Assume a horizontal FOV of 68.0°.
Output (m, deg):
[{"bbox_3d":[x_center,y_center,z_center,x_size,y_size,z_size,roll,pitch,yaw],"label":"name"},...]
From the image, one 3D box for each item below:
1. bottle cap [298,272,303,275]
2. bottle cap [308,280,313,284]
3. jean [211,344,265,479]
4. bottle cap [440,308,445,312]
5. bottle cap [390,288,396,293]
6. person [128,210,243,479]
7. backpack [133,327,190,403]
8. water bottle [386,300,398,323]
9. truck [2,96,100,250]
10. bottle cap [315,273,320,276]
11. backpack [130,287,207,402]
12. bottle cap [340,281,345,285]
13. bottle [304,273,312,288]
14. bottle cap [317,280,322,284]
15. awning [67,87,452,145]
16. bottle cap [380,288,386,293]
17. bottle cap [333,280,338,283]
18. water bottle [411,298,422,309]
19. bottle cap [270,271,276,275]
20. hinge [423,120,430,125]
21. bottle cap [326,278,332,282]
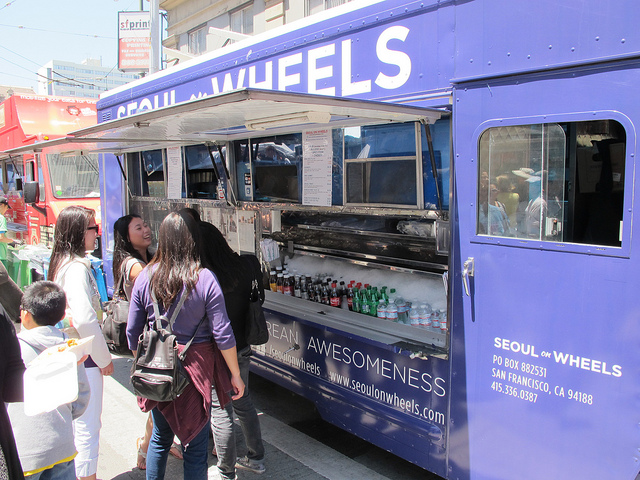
[{"bbox_3d":[-0.207,0.341,4.984,0.050,0.015,0.074,0,8,-8],"label":"bottle cap"},{"bbox_3d":[-0.103,0.412,4.703,0.023,0.047,0.025,2,3,21],"label":"bottle cap"},{"bbox_3d":[-0.626,1.335,3.603,0.310,1.036,0.542,2,7,8],"label":"jean"},{"bbox_3d":[0.982,0.560,3.808,0.022,0.018,0.023,-2,0,-42],"label":"bottle cap"},{"bbox_3d":[0.641,0.438,4.180,0.029,0.031,0.031,1,0,-12],"label":"bottle cap"},{"bbox_3d":[-0.891,0.690,3.156,0.715,1.729,0.485,-2,7,-20],"label":"person"},{"bbox_3d":[-1.014,0.756,3.032,0.305,0.503,0.266,8,11,12],"label":"backpack"},{"bbox_3d":[0.588,0.588,3.930,0.098,0.159,0.158,3,8,20],"label":"water bottle"},{"bbox_3d":[-4.648,-1.283,8.266,1.282,2.437,2.676,-6,12,-30],"label":"truck"},{"bbox_3d":[-0.030,0.345,4.862,0.033,0.032,0.019,-5,-30,35],"label":"bottle cap"},{"bbox_3d":[-1.007,0.653,3.059,0.323,0.705,0.363,8,12,8],"label":"backpack"},{"bbox_3d":[0.207,0.406,4.541,0.036,0.038,0.012,-6,2,-25],"label":"bottle cap"},{"bbox_3d":[-0.114,0.385,4.753,0.083,0.160,0.087,0,-6,0],"label":"bottle"},{"bbox_3d":[-0.004,0.402,4.614,0.040,0.043,0.022,-11,-17,41],"label":"bottle cap"},{"bbox_3d":[-0.543,-0.958,3.806,2.921,0.168,1.650,9,11,43],"label":"awning"},{"bbox_3d":[0.555,0.445,4.224,0.034,0.038,0.037,5,-7,-36],"label":"bottle cap"},{"bbox_3d":[0.145,0.389,4.562,0.044,0.016,0.062,0,8,-5],"label":"bottle cap"},{"bbox_3d":[0.800,0.519,3.922,0.065,0.062,0.107,-10,-1,16],"label":"water bottle"},{"bbox_3d":[-0.505,0.348,5.104,0.075,0.036,0.062,2,8,11],"label":"bottle cap"},{"bbox_3d":[0.771,-0.862,3.450,0.044,0.023,0.108,3,9,15],"label":"hinge"},{"bbox_3d":[0.085,0.383,4.627,0.033,0.036,0.024,-3,-9,22],"label":"bottle cap"}]
